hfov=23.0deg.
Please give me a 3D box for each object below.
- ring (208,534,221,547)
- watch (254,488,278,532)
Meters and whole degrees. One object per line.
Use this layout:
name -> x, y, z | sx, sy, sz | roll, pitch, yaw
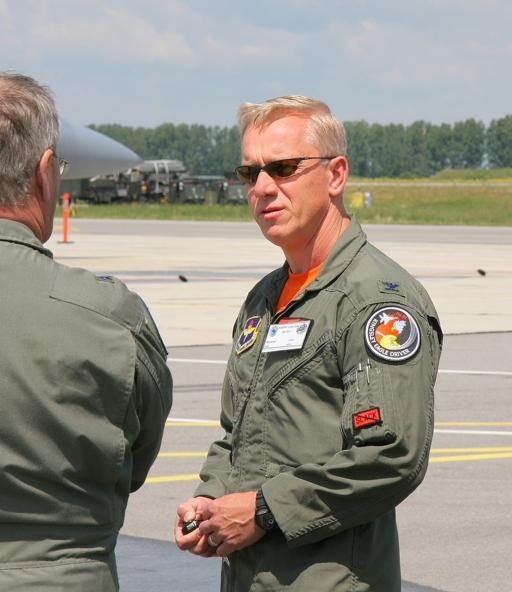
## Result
ring -> -0.108, 0.634, 3.268 | 0.013, 0.034, 0.029 | -36, 31, -21
watch -> 0.022, 0.540, 3.205 | 0.035, 0.089, 0.065 | -31, -3, -11
